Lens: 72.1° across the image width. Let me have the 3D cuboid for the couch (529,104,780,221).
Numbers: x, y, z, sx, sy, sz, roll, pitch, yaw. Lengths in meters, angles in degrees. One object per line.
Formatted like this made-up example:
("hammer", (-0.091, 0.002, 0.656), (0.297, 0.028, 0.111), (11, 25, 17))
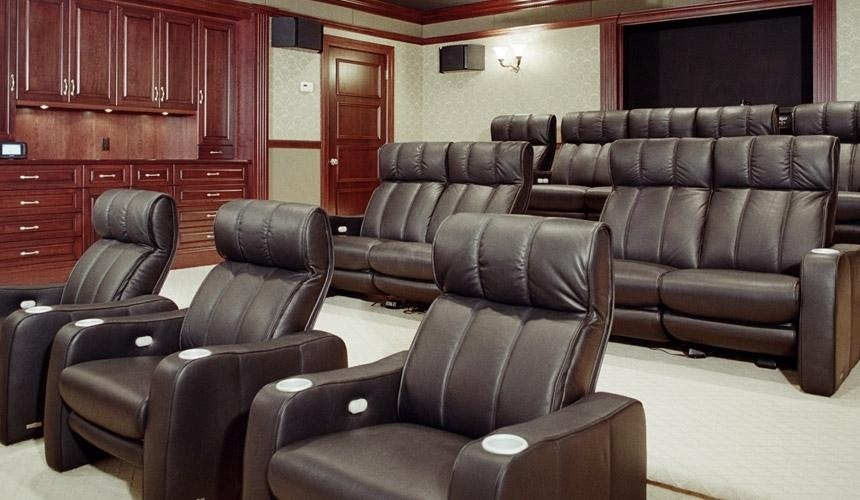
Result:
("couch", (2.374, -0.889, 6.505), (2.583, 1.153, 1.271), (6, 21, 35))

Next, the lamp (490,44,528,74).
("lamp", (1.169, -2.807, 8.674), (0.498, 0.377, 0.199), (4, 15, 23))

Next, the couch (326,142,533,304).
("couch", (-0.113, -0.302, 5.430), (1.194, 1.288, 2.035), (-15, 16, -43))
